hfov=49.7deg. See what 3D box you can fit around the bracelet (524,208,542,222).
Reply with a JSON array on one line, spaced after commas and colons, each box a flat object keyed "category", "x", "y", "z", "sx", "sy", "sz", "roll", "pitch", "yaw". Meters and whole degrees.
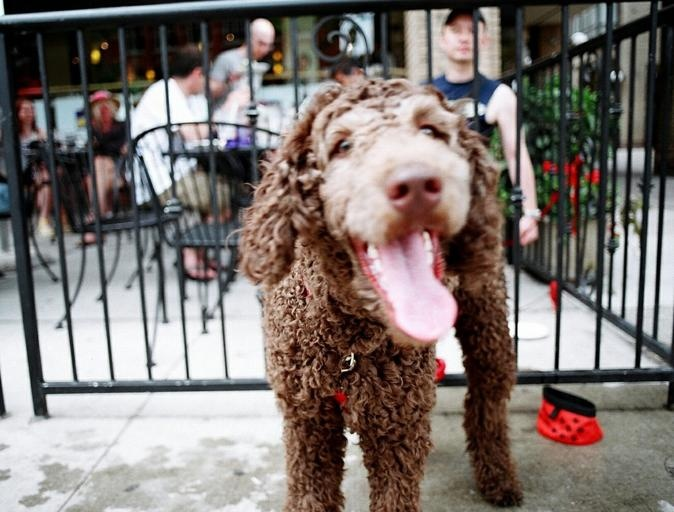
[{"category": "bracelet", "x": 1.182, "y": -0.244, "z": 4.386, "sx": 0.085, "sy": 0.064, "sz": 0.068, "roll": 14, "pitch": 3, "yaw": 24}]
